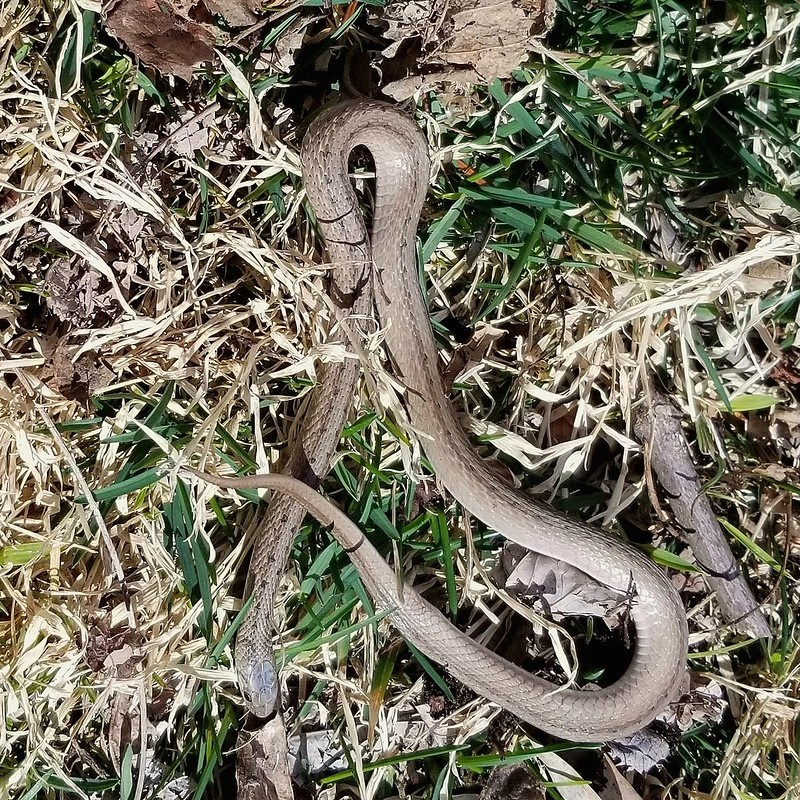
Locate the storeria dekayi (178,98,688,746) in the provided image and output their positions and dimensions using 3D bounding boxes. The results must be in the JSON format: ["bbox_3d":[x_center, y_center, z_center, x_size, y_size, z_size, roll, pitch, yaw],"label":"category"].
[{"bbox_3d":[0.085,0.128,1.921,0.630,0.278,1.469,-30,83,-2],"label":"storeria dekayi"}]
